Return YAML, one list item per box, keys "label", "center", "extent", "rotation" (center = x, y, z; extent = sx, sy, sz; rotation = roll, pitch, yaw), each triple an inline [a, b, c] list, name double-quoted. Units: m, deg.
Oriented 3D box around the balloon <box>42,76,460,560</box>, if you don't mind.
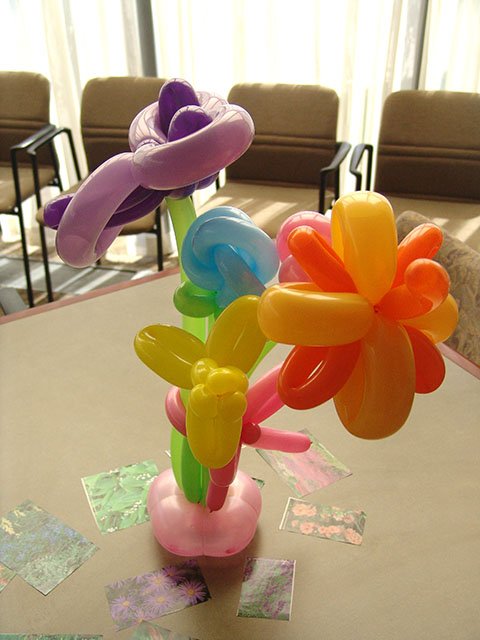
- label: "balloon"
  center: [-0.005, 0.046, 0.578]
  extent: [0.401, 0.540, 0.221]
  rotation: [23, 34, 38]
